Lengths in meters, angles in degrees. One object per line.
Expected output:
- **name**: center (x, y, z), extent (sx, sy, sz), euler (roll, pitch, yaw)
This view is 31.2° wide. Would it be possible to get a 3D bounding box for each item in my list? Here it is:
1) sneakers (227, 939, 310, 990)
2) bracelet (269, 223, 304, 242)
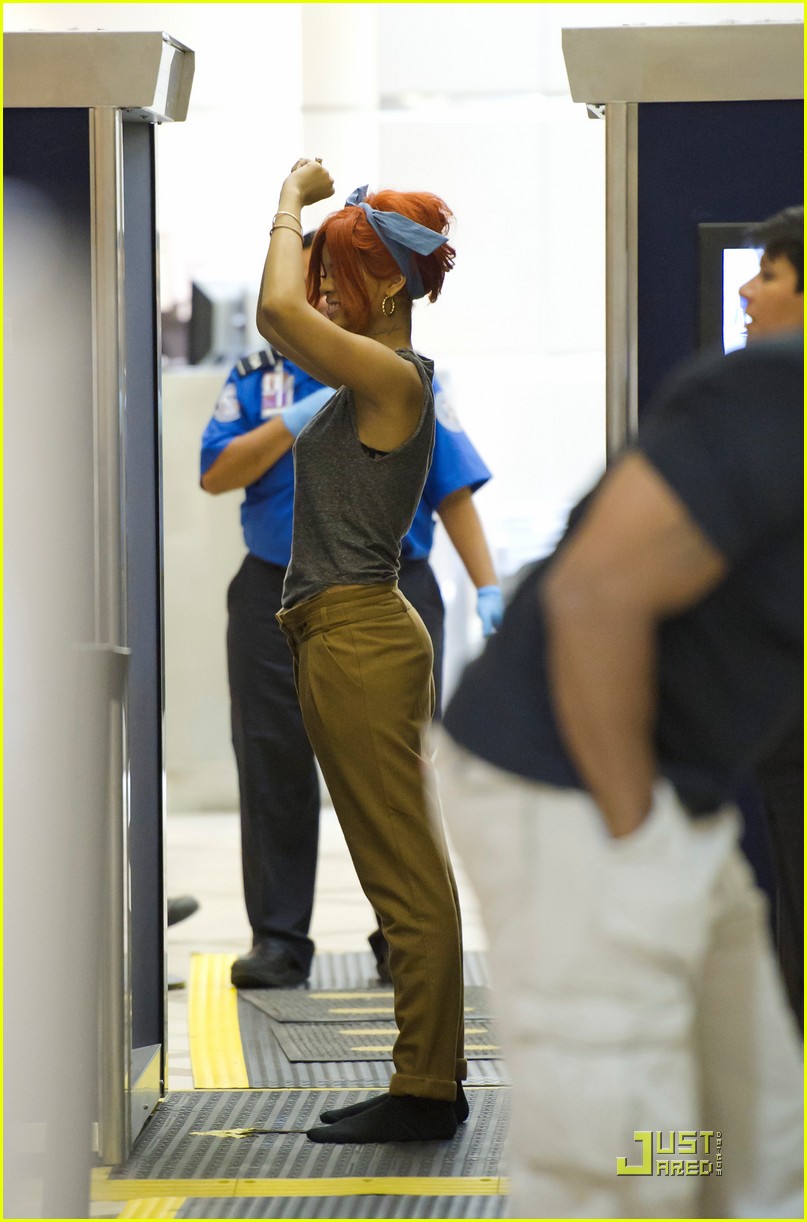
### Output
- **sneakers**: center (-0.310, 0.816, 3.316), extent (0.073, 0.089, 0.204), euler (-4, -9, 31)
- **bracelet**: center (-0.167, -0.539, 2.056), extent (0.045, 0.026, 0.044), euler (0, -2, -16)
